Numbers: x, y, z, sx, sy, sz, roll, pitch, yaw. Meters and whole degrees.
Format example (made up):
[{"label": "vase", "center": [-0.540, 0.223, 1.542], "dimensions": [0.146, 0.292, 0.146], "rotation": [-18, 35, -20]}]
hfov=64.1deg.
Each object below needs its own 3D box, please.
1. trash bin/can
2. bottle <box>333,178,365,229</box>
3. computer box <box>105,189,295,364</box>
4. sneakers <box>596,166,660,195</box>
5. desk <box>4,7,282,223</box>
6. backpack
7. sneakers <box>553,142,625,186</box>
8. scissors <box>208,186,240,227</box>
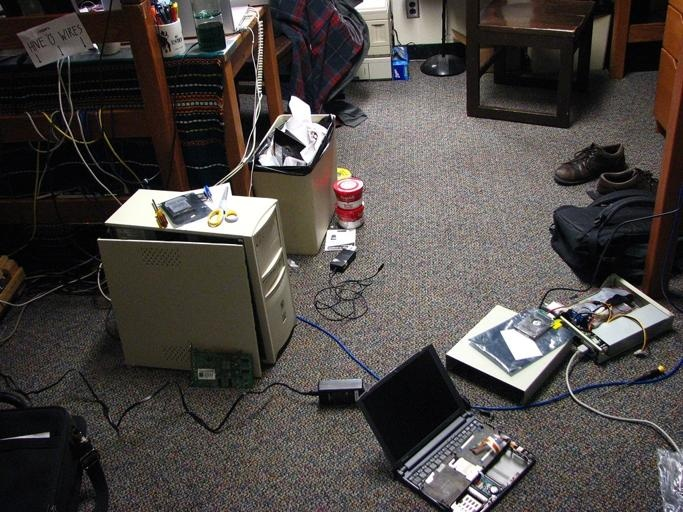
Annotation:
[{"label": "trash bin/can", "center": [-0.196, -0.370, 2.640], "dimensions": [0.299, 0.425, 0.580], "rotation": [3, 37, 13]}, {"label": "bottle", "center": [0.041, -0.272, 2.641], "dimensions": [0.151, 0.221, 0.211], "rotation": [-4, 36, 0]}, {"label": "computer box", "center": [-0.434, -0.017, 2.178], "dimensions": [0.746, 0.785, 0.464], "rotation": [0, 28, 1]}, {"label": "sneakers", "center": [1.349, -0.361, 2.557], "dimensions": [0.269, 0.112, 0.128], "rotation": [-9, 32, -3]}, {"label": "desk", "center": [-0.881, -0.566, 2.419], "dimensions": [0.801, 0.600, 1.214], "rotation": [9, 33, 16]}, {"label": "backpack", "center": [1.072, -0.091, 2.253], "dimensions": [0.454, 0.227, 0.356], "rotation": [-4, 41, 9]}, {"label": "sneakers", "center": [1.238, -0.442, 2.810], "dimensions": [0.359, 0.147, 0.183], "rotation": [-12, 39, 23]}, {"label": "scissors", "center": [-0.412, -0.173, 1.878], "dimensions": [0.062, 0.017, 0.165], "rotation": [6, 62, 22]}]
